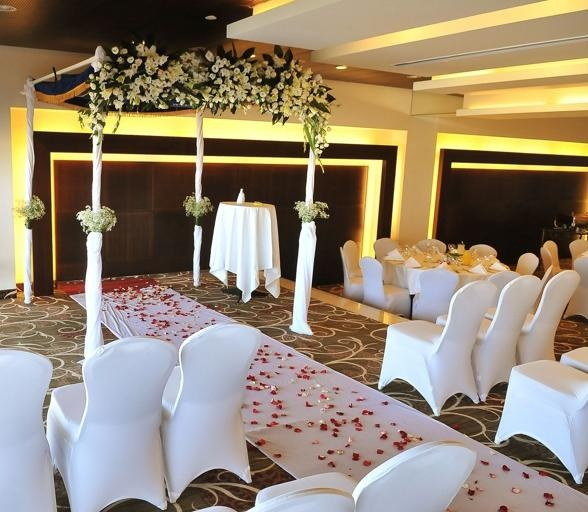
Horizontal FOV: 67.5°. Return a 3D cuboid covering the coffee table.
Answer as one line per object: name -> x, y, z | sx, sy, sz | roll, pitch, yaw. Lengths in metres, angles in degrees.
coffee table -> -0.543, -0.049, 6.635 | 0.983, 1.197, 0.976 | 0, 4, -18

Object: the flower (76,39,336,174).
flower -> -0.736, -1.676, 4.636 | 2.489, 1.121, 0.736 | -2, 29, -26

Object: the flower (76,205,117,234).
flower -> -1.938, -0.349, 4.333 | 0.318, 0.293, 0.382 | -2, 12, -27

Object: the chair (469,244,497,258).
chair -> 3.417, -0.103, 8.011 | 0.368, 0.166, 0.356 | -4, 10, -22

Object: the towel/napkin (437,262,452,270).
towel/napkin -> 2.111, 0.137, 6.185 | 0.182, 0.073, 0.169 | -8, 12, -37

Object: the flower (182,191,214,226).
flower -> -1.648, -0.838, 7.441 | 0.583, 0.558, 0.407 | -10, 21, -40

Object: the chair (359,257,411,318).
chair -> 1.419, 0.390, 6.752 | 0.635, 0.958, 0.615 | -12, 23, -21

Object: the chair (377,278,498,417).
chair -> 1.334, 0.761, 4.086 | 0.725, 1.146, 0.869 | 3, 1, -29

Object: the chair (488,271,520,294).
chair -> 2.258, 0.281, 4.717 | 0.225, 0.292, 0.240 | -2, 28, -1

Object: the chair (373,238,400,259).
chair -> 1.621, -0.174, 7.899 | 0.411, 0.522, 0.392 | -1, 6, -15
